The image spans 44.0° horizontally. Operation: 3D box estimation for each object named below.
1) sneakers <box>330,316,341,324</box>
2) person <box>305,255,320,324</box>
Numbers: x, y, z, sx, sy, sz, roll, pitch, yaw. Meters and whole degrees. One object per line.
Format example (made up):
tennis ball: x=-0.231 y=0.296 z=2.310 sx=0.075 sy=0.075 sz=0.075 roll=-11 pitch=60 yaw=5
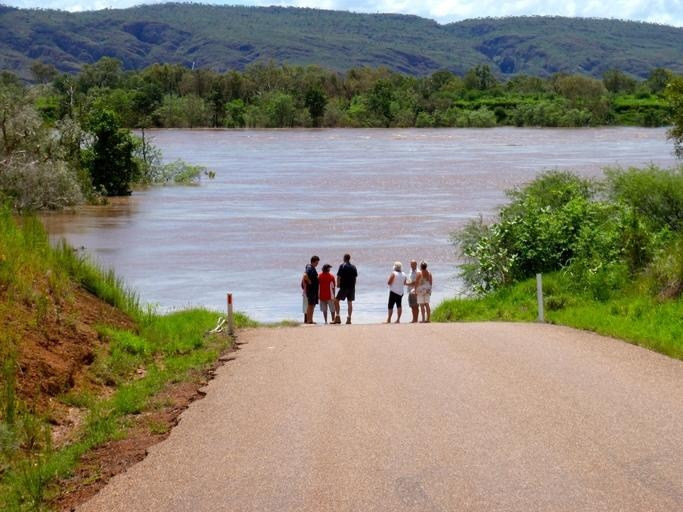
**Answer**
sneakers: x=-0.207 y=1.816 z=24.234 sx=0.297 sy=0.289 sz=0.134 roll=3 pitch=3 yaw=34
person: x=-0.855 y=0.983 z=24.007 sx=0.423 sy=1.971 sz=0.941 roll=-1 pitch=8 yaw=-1
